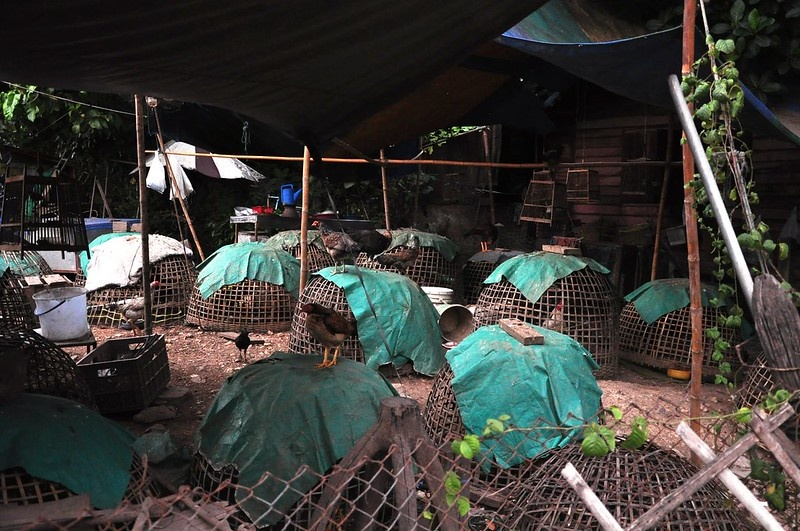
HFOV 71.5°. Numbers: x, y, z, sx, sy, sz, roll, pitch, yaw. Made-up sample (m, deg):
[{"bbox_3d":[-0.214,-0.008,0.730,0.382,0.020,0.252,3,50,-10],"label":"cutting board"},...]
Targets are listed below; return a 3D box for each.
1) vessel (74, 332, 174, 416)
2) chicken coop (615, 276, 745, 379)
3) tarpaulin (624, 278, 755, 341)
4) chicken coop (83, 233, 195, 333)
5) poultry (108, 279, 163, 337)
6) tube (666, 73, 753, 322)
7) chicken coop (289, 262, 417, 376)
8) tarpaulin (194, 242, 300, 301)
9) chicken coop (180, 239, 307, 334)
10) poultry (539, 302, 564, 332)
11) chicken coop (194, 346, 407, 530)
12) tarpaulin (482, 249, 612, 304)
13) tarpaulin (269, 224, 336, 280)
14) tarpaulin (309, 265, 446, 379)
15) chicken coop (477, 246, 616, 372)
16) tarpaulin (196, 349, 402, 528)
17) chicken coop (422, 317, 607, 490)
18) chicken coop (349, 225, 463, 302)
[{"bbox_3d":[-3.457,1.357,7.069,0.711,0.628,1.027,-3,11,5],"label":"vessel"},{"bbox_3d":[4.386,0.885,8.907,1.939,1.126,1.776,6,-1,-24],"label":"chicken coop"},{"bbox_3d":[4.202,0.775,8.768,1.697,0.564,1.532,-4,-20,-8],"label":"tarpaulin"},{"bbox_3d":[-4.991,0.259,11.322,2.075,1.351,2.174,0,-2,7],"label":"chicken coop"},{"bbox_3d":[-4.759,0.726,9.912,0.929,0.874,0.300,-4,0,-41],"label":"poultry"},{"bbox_3d":[2.415,-0.565,4.390,0.137,1.951,0.149,-21,4,35],"label":"tube"},{"bbox_3d":[-0.707,0.740,8.314,1.658,1.246,1.539,-2,5,-21],"label":"chicken coop"},{"bbox_3d":[-2.827,-0.096,10.690,2.122,0.824,2.086,9,10,13],"label":"tarpaulin"},{"bbox_3d":[-3.017,0.418,10.699,2.069,1.265,2.003,1,-2,38],"label":"chicken coop"},{"bbox_3d":[2.267,0.744,8.086,0.435,0.449,0.380,2,-1,-3],"label":"poultry"},{"bbox_3d":[-0.880,1.366,5.071,1.332,0.720,1.396,7,13,41],"label":"chicken coop"},{"bbox_3d":[2.252,0.027,8.348,1.124,0.367,1.030,-15,17,-17],"label":"tarpaulin"},{"bbox_3d":[-2.294,-0.588,12.953,1.641,0.687,1.700,3,6,-16],"label":"tarpaulin"},{"bbox_3d":[-0.299,0.736,8.742,1.933,1.388,2.197,-2,11,-30],"label":"tarpaulin"},{"bbox_3d":[2.303,0.606,8.709,1.886,1.427,1.808,2,3,28],"label":"chicken coop"},{"bbox_3d":[-0.882,1.375,5.023,1.324,0.720,1.374,10,16,42],"label":"tarpaulin"},{"bbox_3d":[1.049,1.185,5.250,1.466,0.868,1.493,-5,19,17],"label":"chicken coop"},{"bbox_3d":[0.518,0.025,10.957,1.631,0.966,1.627,-6,-23,39],"label":"chicken coop"}]
